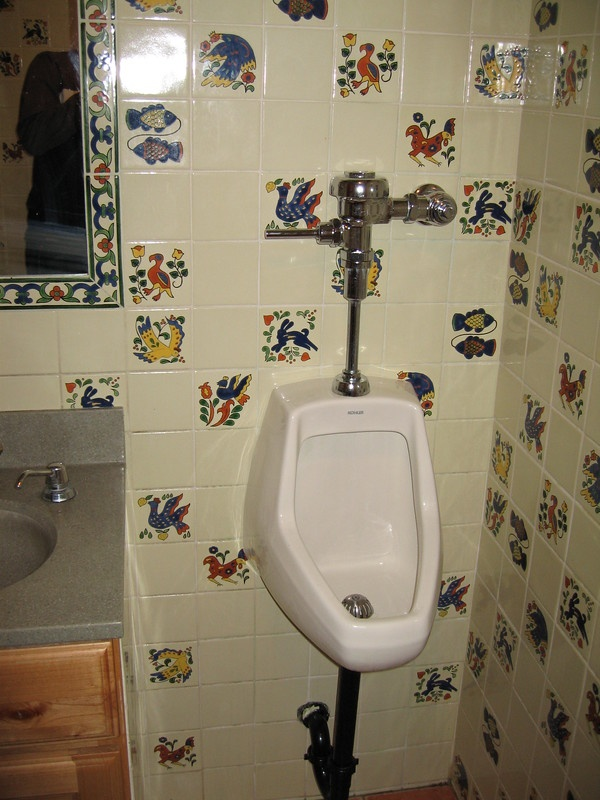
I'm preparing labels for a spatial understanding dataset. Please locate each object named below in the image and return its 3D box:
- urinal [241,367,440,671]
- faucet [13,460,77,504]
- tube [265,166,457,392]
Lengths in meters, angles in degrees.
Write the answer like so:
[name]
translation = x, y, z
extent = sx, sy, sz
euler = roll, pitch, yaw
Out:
[urinal]
translation = 0.080, 0.219, 1.200
extent = 0.352, 0.379, 0.462
euler = 3, 31, -4
[faucet]
translation = -0.418, 0.125, 1.192
extent = 0.055, 0.060, 0.099
euler = 14, 21, 31
[tube]
translation = 0.095, -0.190, 1.210
extent = 0.312, 0.369, 0.210
euler = 3, 9, 5
